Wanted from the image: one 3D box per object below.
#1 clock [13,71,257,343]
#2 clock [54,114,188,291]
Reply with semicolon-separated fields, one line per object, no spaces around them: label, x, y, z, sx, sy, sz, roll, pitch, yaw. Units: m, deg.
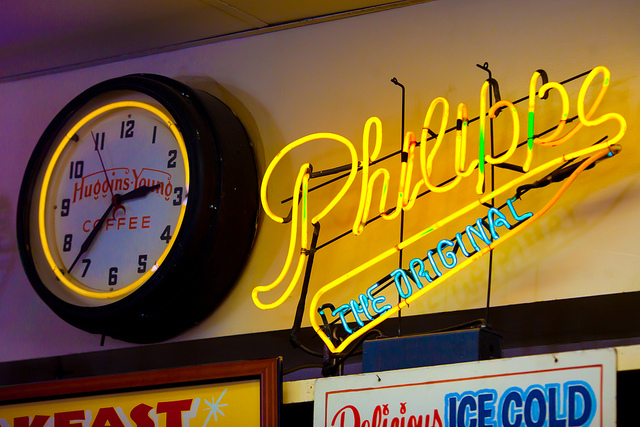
clock;-0.759;-0.003;3.944;0.974;1.043;0.322;-10;-18;24
clock;-0.882;-0.036;4.004;0.800;0.903;0.098;-3;-16;24
